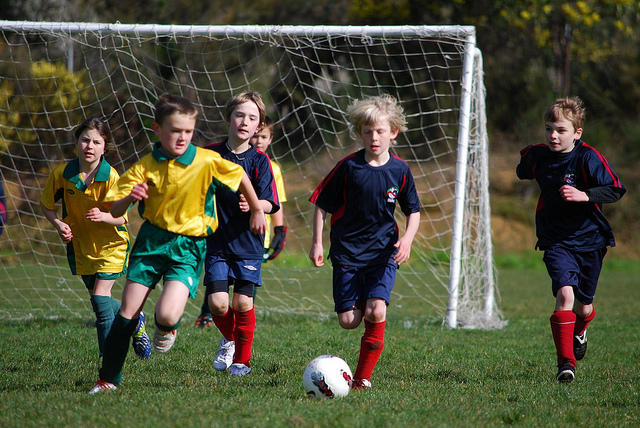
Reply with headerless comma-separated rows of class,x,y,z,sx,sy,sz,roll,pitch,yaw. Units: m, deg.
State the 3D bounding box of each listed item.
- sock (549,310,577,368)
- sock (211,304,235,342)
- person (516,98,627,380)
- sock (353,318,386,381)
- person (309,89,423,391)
sock,3.147,1.669,10.044,0.324,0.837,0.347,-5,1,25
sock,-1.237,1.405,10.063,0.282,0.470,0.220,2,3,-8
person,3.216,0.282,10.126,1.180,3.550,0.718,3,3,11
sock,0.593,1.651,9.608,0.346,0.764,0.162,2,3,-2
person,0.558,0.308,9.718,1.290,3.613,0.574,3,3,7
